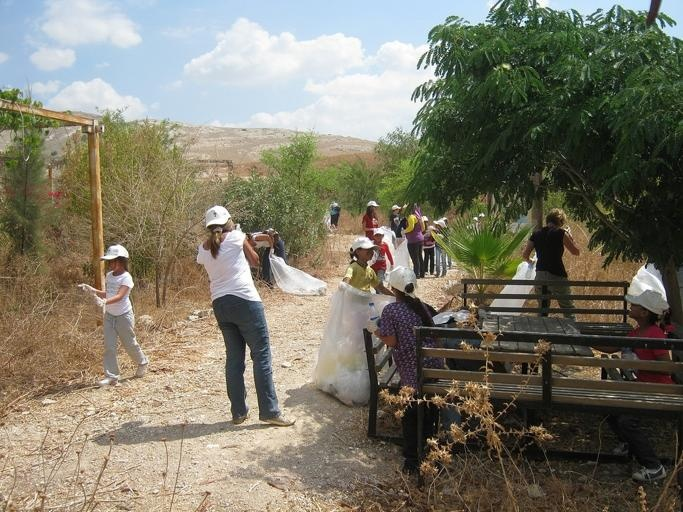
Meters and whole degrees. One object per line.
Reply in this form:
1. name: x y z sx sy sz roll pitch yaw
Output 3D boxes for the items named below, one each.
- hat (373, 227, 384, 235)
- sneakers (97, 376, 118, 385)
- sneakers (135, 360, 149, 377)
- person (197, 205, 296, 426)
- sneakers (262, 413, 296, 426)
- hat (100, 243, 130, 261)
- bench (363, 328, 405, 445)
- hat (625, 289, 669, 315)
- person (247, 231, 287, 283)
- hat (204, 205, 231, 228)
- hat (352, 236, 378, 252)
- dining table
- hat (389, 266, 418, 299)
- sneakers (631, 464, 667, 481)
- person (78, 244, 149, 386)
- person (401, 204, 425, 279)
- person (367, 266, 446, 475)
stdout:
1. hat: 0.702 -0.469 11.630 0.292 0.158 0.458 -1 1 6
2. sneakers: -2.879 1.537 7.524 0.227 0.128 0.092 8 -1 -20
3. sneakers: -2.576 1.455 7.893 0.095 0.099 0.223 3 18 1
4. person: -1.068 0.671 6.577 0.824 2.384 0.577 6 10 39
5. sneakers: -0.687 1.777 6.730 0.372 0.177 0.145 0 13 -7
6. hat: -3.203 -0.059 8.588 0.422 0.264 0.292 7 -5 -33
7. bench: 0.457 1.422 6.497 0.413 0.749 1.181 1 2 1
8. hat: 3.081 0.460 6.170 0.335 0.189 0.228 21 26 40
9. person: -1.382 0.066 11.428 0.355 0.429 1.046 -21 -7 11
10. hat: -1.333 -0.428 6.639 0.180 0.153 0.263 -7 11 12
11. hat: 0.268 -0.130 7.761 0.246 0.148 0.192 -11 -4 27
12. dining table: 1.837 1.217 6.408 1.378 1.442 1.089 -1 25 10
13. hat: 0.631 0.283 6.299 0.162 0.374 0.223 -4 26 44
14. sneakers: 2.895 2.047 5.791 0.332 0.159 0.135 0 -4 2
15. person: -2.817 0.725 7.618 0.725 1.698 0.506 -5 9 -29
16. person: 1.714 -0.360 14.815 0.559 1.823 0.588 0 3 41
17. person: 0.640 1.184 6.260 0.669 2.026 0.657 -9 5 -42
